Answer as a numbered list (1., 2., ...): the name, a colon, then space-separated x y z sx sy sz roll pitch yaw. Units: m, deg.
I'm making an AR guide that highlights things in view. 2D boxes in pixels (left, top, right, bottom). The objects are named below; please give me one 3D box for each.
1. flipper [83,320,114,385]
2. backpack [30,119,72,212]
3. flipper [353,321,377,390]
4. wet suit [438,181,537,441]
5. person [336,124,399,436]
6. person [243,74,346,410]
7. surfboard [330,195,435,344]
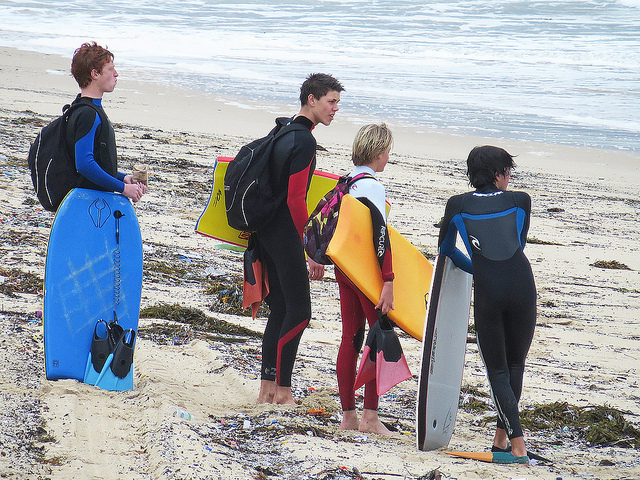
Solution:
1. flipper: -2.357 1.210 10.657 0.275 0.661 0.174 3 8 -24
2. backpack: -2.797 -0.792 10.621 0.403 0.902 0.394 -15 24 -37
3. flipper: 0.499 1.238 10.507 0.215 0.751 0.106 6 7 0
4. wet suit: 1.864 0.702 10.703 0.966 3.187 1.063 -6 3 -35
5. person: 0.469 0.435 10.755 0.698 3.307 0.940 1 2 -24
6. person: -0.353 0.018 11.019 1.111 3.629 1.010 2 1 -22
7. surfboard: 0.650 0.298 10.587 0.234 0.844 1.833 -15 -50 42
